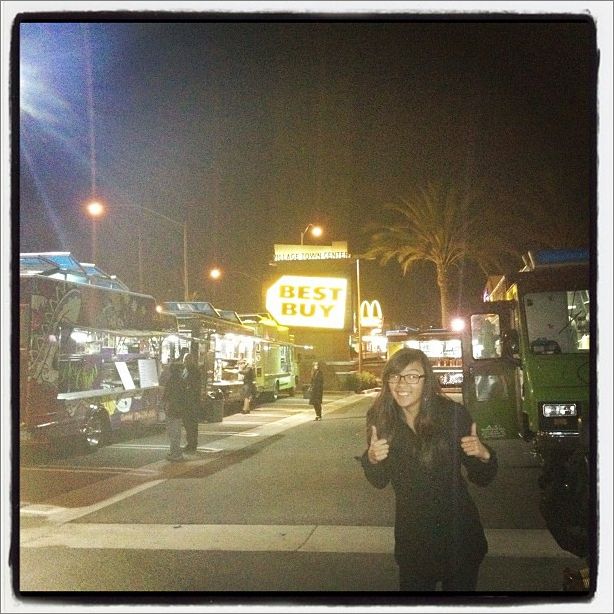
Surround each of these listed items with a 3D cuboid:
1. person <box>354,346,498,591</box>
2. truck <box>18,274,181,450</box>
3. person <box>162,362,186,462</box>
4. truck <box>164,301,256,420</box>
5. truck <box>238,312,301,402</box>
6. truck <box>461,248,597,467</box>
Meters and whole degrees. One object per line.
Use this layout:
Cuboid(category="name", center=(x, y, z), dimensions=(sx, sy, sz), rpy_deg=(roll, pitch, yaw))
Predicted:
Cuboid(category="person", center=(0.643, 0.859, 3.136), dimensions=(0.721, 1.269, 0.436), rpy_deg=(-2, -4, 19))
Cuboid(category="truck", center=(-5.380, 1.330, 13.293), dimensions=(2.393, 3.459, 6.296), rpy_deg=(-2, -2, 11))
Cuboid(category="person", center=(-2.721, 2.112, 11.758), dimensions=(0.429, 1.915, 0.519), rpy_deg=(1, -4, -17))
Cuboid(category="truck", center=(-2.944, 1.465, 19.634), dimensions=(1.547, 2.478, 5.386), rpy_deg=(-3, -11, 9))
Cuboid(category="truck", center=(-2.389, 2.483, 27.204), dimensions=(1.783, 3.084, 5.306), rpy_deg=(-3, -11, 9))
Cuboid(category="truck", center=(4.105, 0.974, 11.183), dimensions=(2.642, 2.705, 3.942), rpy_deg=(0, -13, 0))
